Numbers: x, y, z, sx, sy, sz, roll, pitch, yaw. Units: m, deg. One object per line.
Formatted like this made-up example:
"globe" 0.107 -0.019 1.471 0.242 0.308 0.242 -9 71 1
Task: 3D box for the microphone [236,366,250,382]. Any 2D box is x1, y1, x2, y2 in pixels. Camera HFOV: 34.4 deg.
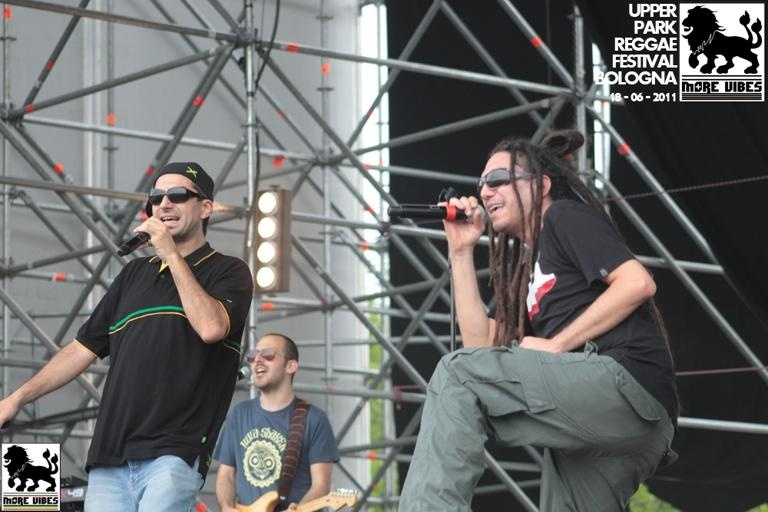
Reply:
"microphone" -1.213 1.039 11.009 0.095 0.177 0.254 -7 0 -11
